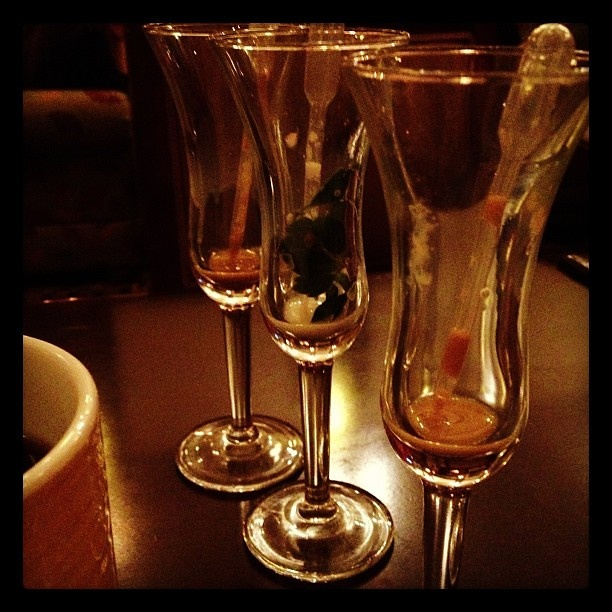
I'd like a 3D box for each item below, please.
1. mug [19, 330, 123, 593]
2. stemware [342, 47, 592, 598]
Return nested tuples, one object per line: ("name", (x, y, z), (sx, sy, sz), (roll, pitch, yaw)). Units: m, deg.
("mug", (-0.066, 0.048, 0.230), (0.039, 0.079, 0.083), (-2, 60, -9))
("stemware", (0.056, 0.013, 0.262), (0.087, 0.212, 0.074), (3, 29, 2))
